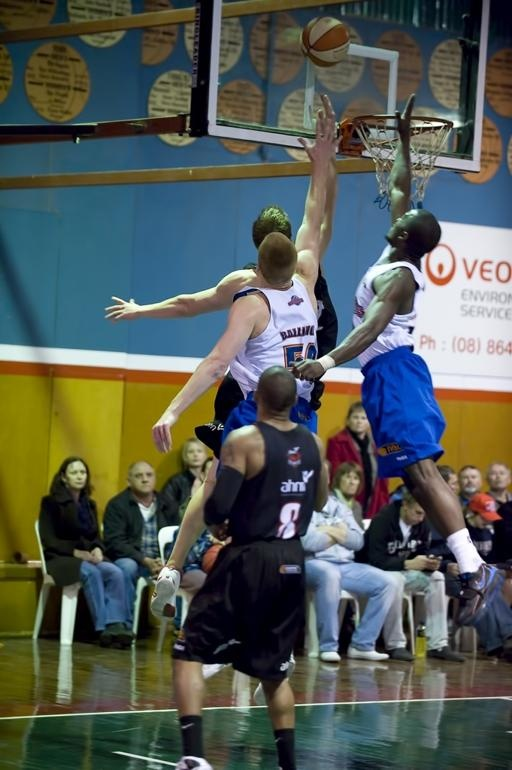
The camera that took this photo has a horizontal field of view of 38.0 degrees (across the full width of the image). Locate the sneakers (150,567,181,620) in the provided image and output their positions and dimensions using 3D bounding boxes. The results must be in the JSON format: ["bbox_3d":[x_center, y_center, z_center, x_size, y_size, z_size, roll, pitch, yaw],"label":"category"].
[{"bbox_3d":[-0.340,0.776,2.717,0.087,0.219,0.095,12,38,10],"label":"sneakers"}]

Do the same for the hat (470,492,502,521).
[{"bbox_3d":[1.939,1.043,6.419,0.276,0.144,0.186,27,23,35],"label":"hat"}]

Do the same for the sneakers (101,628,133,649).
[{"bbox_3d":[-1.025,1.849,5.456,0.228,0.110,0.214,1,7,4],"label":"sneakers"}]
